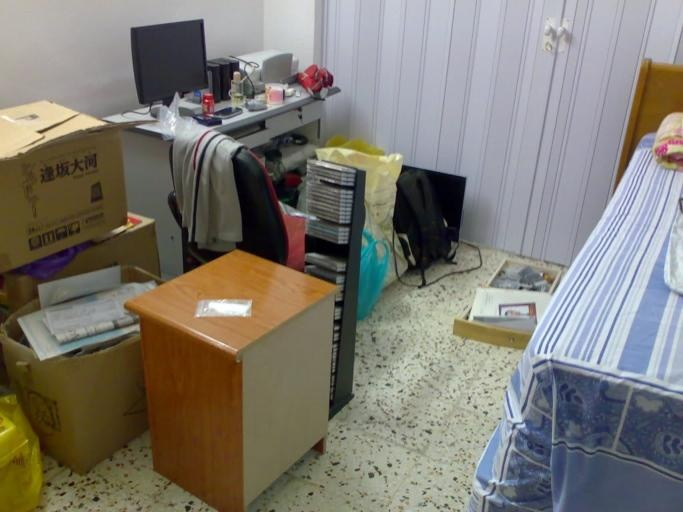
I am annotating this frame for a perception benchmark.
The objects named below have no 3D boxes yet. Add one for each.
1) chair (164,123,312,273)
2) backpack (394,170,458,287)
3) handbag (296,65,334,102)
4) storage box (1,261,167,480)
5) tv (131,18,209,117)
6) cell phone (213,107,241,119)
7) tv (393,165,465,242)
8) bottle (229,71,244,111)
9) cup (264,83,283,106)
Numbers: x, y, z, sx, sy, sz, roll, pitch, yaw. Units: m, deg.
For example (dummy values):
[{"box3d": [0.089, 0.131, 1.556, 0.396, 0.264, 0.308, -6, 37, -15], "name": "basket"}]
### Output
[{"box3d": [-0.501, -0.253, 2.435, 0.494, 0.738, 0.546, 23, 46, 20], "name": "chair"}, {"box3d": [0.527, -0.197, 3.474, 0.228, 0.718, 0.490, -14, 31, -7], "name": "backpack"}, {"box3d": [-0.182, -1.283, 3.834, 0.217, 0.128, 0.272, -4, 10, 28], "name": "handbag"}, {"box3d": [-1.078, 0.547, 2.339, 0.575, 0.568, 0.716, 23, 42, 29], "name": "storage box"}, {"box3d": [-1.019, -1.119, 3.152, 0.122, 0.507, 0.533, 22, 35, 23], "name": "tv"}, {"box3d": [-0.697, -0.876, 3.239, 0.091, 0.026, 0.146, 27, 41, 24], "name": "cell phone"}, {"box3d": [0.584, -0.349, 3.541, 0.423, 0.464, 0.052, 20, 39, 23], "name": "tv"}, {"box3d": [-0.684, -1.098, 3.492, 0.076, 0.228, 0.083, -1, 18, 0], "name": "bottle"}, {"box3d": [-0.446, -1.082, 3.544, 0.116, 0.116, 0.147, 19, 34, 27], "name": "cup"}]
